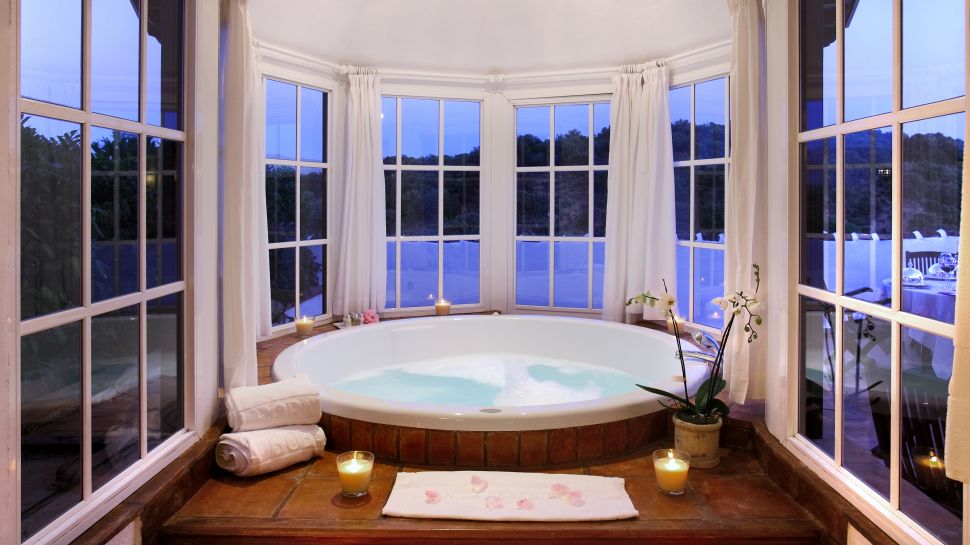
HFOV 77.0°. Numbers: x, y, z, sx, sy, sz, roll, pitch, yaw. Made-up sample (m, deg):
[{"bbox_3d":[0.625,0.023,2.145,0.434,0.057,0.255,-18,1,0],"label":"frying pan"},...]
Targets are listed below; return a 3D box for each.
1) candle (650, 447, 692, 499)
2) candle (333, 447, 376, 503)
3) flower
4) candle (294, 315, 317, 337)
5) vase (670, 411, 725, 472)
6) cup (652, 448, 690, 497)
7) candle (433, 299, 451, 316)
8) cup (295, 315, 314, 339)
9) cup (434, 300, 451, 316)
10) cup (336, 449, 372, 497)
[{"bbox_3d":[0.855,0.917,2.822,0.184,0.154,0.194,-3,3,-38],"label":"candle"},{"bbox_3d":[-0.586,0.925,2.769,0.192,0.161,0.199,0,-2,-4],"label":"candle"},{"bbox_3d":[1.223,0.352,3.341,0.540,0.838,0.806,2,7,24],"label":"flower"},{"bbox_3d":[-1.353,0.413,4.612,0.160,0.110,0.146,0,5,8],"label":"candle"},{"bbox_3d":[1.054,0.866,3.133,0.271,0.213,0.248,0,6,-5],"label":"vase"},{"bbox_3d":[0.853,0.919,2.854,0.194,0.154,0.182,-1,3,0],"label":"cup"},{"bbox_3d":[-0.365,0.308,5.162,0.132,0.088,0.121,0,5,11],"label":"candle"},{"bbox_3d":[-1.391,0.428,4.614,0.151,0.104,0.139,0,4,0],"label":"cup"},{"bbox_3d":[-0.365,0.304,5.164,0.127,0.087,0.122,-1,0,0],"label":"cup"},{"bbox_3d":[-0.583,0.915,2.803,0.186,0.156,0.194,0,-1,0],"label":"cup"}]
